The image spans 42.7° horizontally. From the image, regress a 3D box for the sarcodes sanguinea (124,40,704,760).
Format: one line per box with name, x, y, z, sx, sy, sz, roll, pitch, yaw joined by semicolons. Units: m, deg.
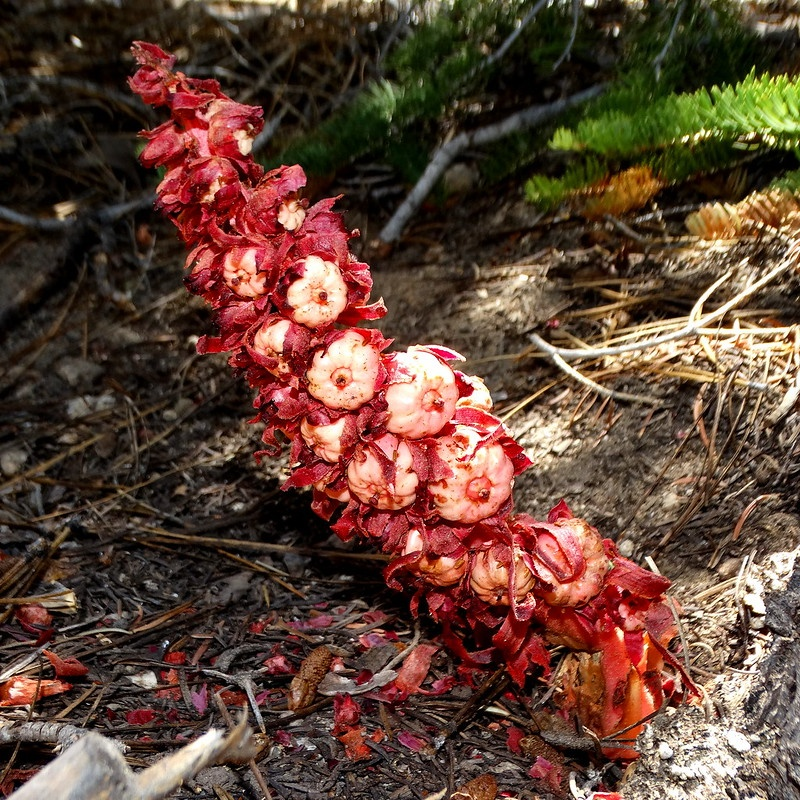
sarcodes sanguinea;0.115;0.086;1.939;0.618;1.637;0.359;3;58;30
